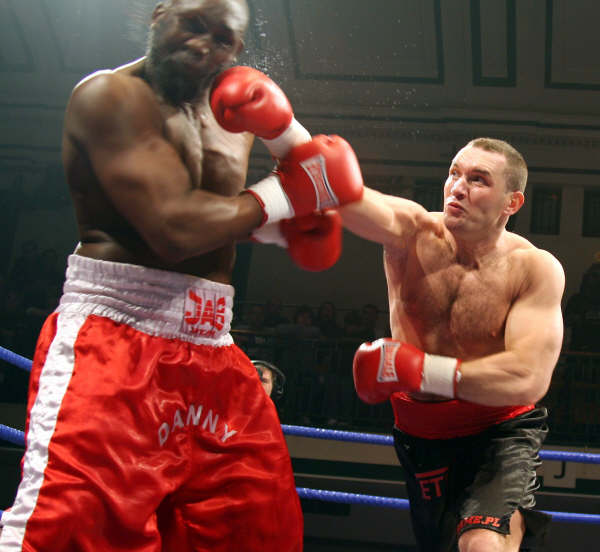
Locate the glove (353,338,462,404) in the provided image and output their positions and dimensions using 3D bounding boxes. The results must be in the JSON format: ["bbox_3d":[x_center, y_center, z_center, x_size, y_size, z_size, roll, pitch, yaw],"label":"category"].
[{"bbox_3d":[0.352,0.337,2.391,0.372,0.229,0.100,6,4,32],"label":"glove"}]
